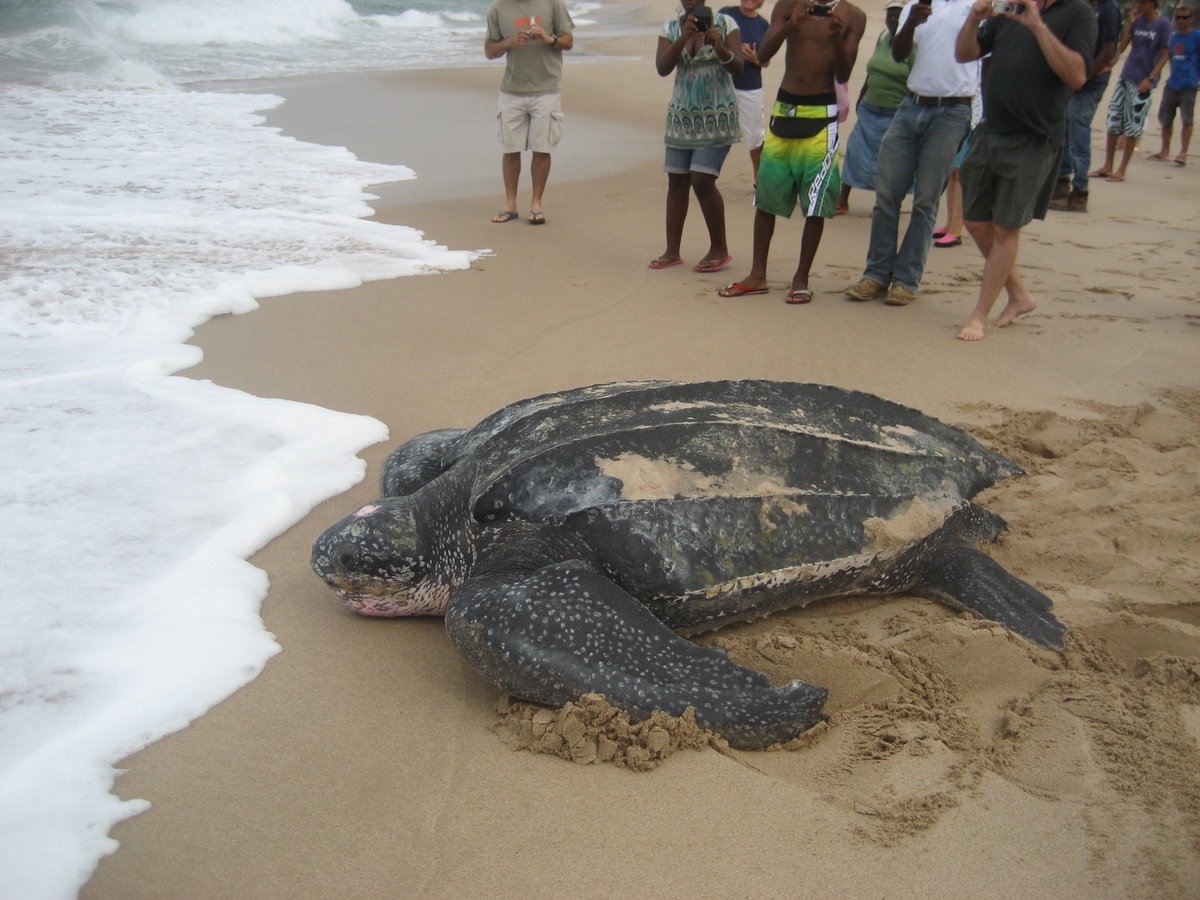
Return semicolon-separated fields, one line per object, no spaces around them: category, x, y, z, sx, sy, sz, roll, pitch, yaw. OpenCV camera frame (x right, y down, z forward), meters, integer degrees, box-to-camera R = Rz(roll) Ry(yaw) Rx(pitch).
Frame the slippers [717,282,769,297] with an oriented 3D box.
slippers;0.862;-0.963;6.831;0.287;0.064;0.106;-2;23;-6

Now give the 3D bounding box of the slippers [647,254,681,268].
slippers;0.411;-1.232;7.432;0.219;0.129;0.092;2;39;-6

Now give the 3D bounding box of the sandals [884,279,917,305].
sandals;1.756;-0.894;6.610;0.108;0.079;0.206;27;24;31

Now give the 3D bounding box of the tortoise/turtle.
tortoise/turtle;0.278;0.353;4.062;2.572;0.849;1.270;-1;28;-7

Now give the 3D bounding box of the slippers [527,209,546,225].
slippers;-0.493;-1.710;8.418;0.111;0.062;0.256;-4;17;-7

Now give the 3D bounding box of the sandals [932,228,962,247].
sandals;2.367;-1.426;7.731;0.118;0.076;0.218;10;17;37

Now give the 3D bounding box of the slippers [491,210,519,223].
slippers;-0.727;-1.727;8.495;0.175;0.061;0.083;-2;53;-5

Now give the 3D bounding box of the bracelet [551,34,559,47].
bracelet;-0.341;-2.974;8.313;0.069;0.072;0.128;1;27;-3

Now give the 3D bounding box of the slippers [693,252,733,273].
slippers;0.729;-1.185;7.320;0.243;0.054;0.105;-14;62;-2

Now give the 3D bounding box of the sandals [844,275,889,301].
sandals;1.582;-0.928;6.707;0.286;0.108;0.113;-5;17;-23
